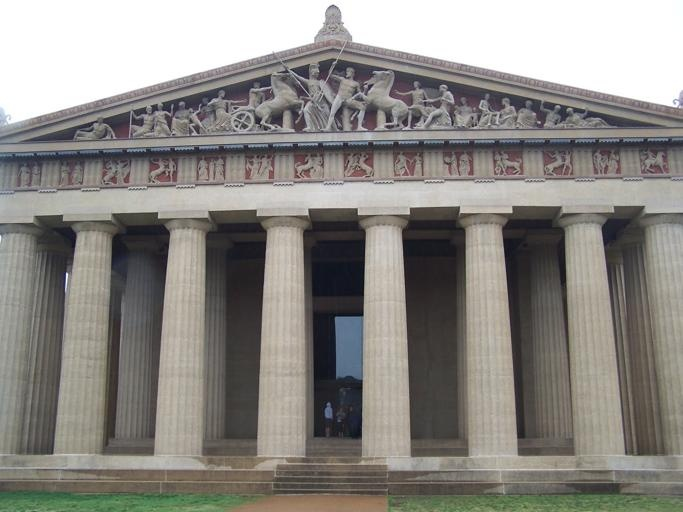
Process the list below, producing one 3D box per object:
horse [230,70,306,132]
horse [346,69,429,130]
[{"bbox_3d":[-3.598,-7.807,39.107,4.334,3.088,1.282,-1,5,5],"label":"horse"},{"bbox_3d":[2.400,-7.762,38.586,3.194,3.178,1.012,0,-23,-6],"label":"horse"}]
